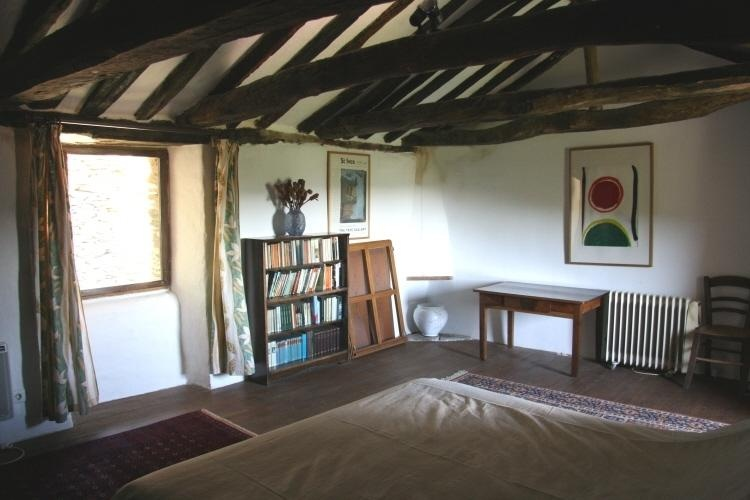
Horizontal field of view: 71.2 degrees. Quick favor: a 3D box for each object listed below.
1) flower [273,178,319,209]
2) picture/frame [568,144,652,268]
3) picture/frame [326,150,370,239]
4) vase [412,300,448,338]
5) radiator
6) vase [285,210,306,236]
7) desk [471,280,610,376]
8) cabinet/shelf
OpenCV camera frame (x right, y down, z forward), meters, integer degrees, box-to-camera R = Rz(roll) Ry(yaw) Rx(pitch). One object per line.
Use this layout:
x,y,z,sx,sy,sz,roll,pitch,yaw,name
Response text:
-0.960,-0.688,6.504,0.442,0.269,0.444,5,-2,17,flower
3.022,-0.562,6.816,1.088,1.586,0.048,3,9,44,picture/frame
-0.322,-0.761,7.350,0.166,1.241,0.928,7,14,37,picture/frame
0.877,1.054,8.002,0.510,0.421,0.499,0,-4,22,vase
3.373,0.992,6.419,0.750,1.051,0.326,-2,8,8,radiator
-0.902,-0.335,6.428,0.283,0.327,0.278,0,4,2,vase
2.250,0.616,6.795,1.655,1.038,1.050,3,6,36,desk
-1.013,0.738,6.394,0.535,2.021,1.735,1,4,39,cabinet/shelf
